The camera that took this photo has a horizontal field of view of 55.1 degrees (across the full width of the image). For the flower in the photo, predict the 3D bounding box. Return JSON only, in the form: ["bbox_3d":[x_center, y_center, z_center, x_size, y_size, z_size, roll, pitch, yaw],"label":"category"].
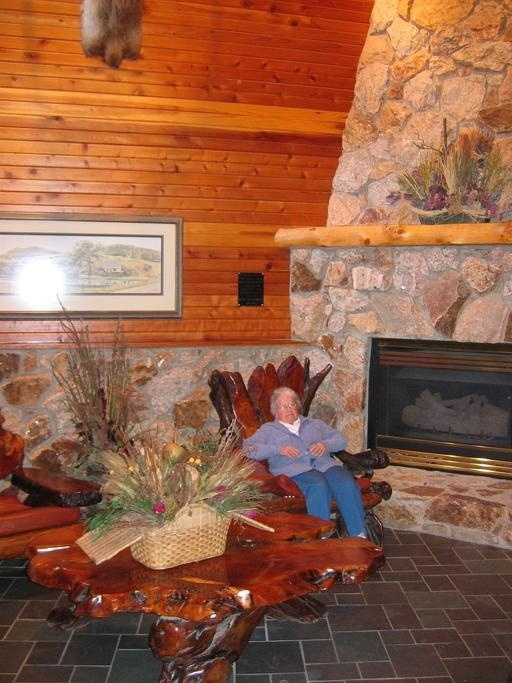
[{"bbox_3d":[-0.240,0.392,1.419,0.526,0.234,0.464,-1,-2,-15],"label":"flower"}]

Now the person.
[{"bbox_3d":[0.271,0.645,2.558,0.544,0.823,0.603,-2,-16,-19],"label":"person"}]
